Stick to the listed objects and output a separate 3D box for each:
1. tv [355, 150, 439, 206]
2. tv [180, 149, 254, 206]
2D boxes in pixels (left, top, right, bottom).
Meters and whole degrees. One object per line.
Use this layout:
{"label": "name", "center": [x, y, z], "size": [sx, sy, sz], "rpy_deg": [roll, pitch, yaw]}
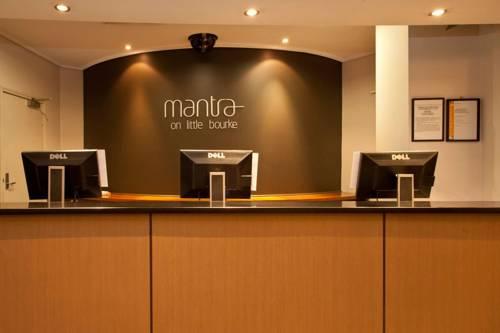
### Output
{"label": "tv", "center": [1.749, 0.108, 5.586], "size": [0.845, 0.634, 0.426], "rpy_deg": [0, 8, 0]}
{"label": "tv", "center": [-0.410, 0.126, 5.747], "size": [0.891, 0.661, 0.296], "rpy_deg": [1, 13, -8]}
